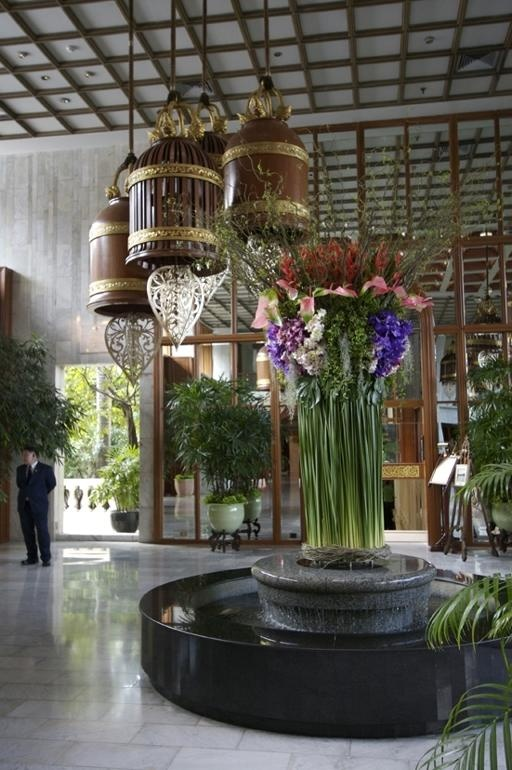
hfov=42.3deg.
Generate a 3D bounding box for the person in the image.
[{"bbox_3d":[-2.283,1.263,6.869,0.342,1.195,0.521,1,-8,-32],"label":"person"}]

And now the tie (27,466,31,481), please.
[{"bbox_3d":[-2.317,0.913,6.809,0.055,0.139,0.022,-7,-8,33],"label":"tie"}]

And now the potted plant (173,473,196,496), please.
[{"bbox_3d":[-0.890,1.252,8.250,0.259,0.198,0.261,-3,-15,14],"label":"potted plant"}]

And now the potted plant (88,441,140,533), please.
[{"bbox_3d":[-1.931,1.437,9.062,0.638,1.173,0.833,-1,-7,-14],"label":"potted plant"}]
